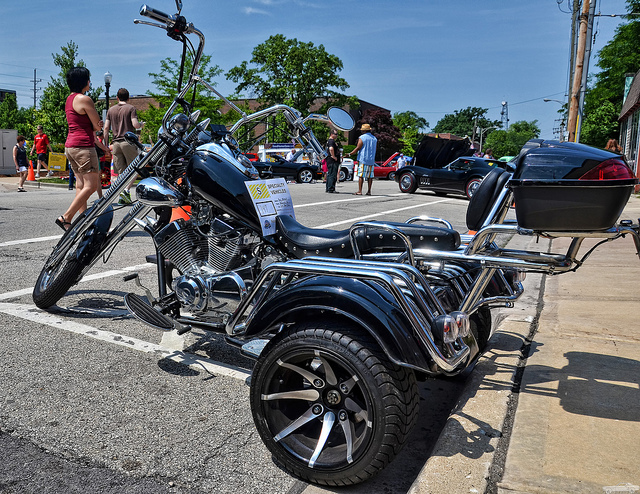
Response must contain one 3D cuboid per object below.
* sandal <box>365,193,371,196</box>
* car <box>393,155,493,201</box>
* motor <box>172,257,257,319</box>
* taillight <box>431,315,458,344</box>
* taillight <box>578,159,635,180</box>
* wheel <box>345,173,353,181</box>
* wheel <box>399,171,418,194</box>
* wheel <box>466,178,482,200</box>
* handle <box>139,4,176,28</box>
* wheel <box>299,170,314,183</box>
[{"bbox_3d":[1.618,-1.779,16.670,0.183,0.047,0.173,6,5,35],"label":"sandal"},{"bbox_3d":[4.674,-2.610,17.252,4.064,1.026,2.119,11,27,35],"label":"car"},{"bbox_3d":[-0.734,0.313,3.484,0.542,0.188,0.514,13,20,29],"label":"motor"},{"bbox_3d":[0.624,0.428,2.503,0.110,0.166,0.096,11,19,37],"label":"taillight"},{"bbox_3d":[1.329,-0.346,2.227,0.135,0.050,0.164,-1,3,2],"label":"taillight"},{"bbox_3d":[1.852,-4.375,31.218,0.157,0.467,0.536,2,-22,25],"label":"wheel"},{"bbox_3d":[3.186,-2.353,17.866,0.378,0.824,1.010,5,-5,-42],"label":"wheel"},{"bbox_3d":[4.910,-1.890,15.961,0.292,0.700,0.706,-2,14,-4],"label":"wheel"},{"bbox_3d":[-1.192,-1.669,3.597,0.170,0.118,0.284,2,13,11],"label":"handle"},{"bbox_3d":[-0.726,-3.421,23.813,0.918,0.684,0.286,0,3,-20],"label":"wheel"}]
